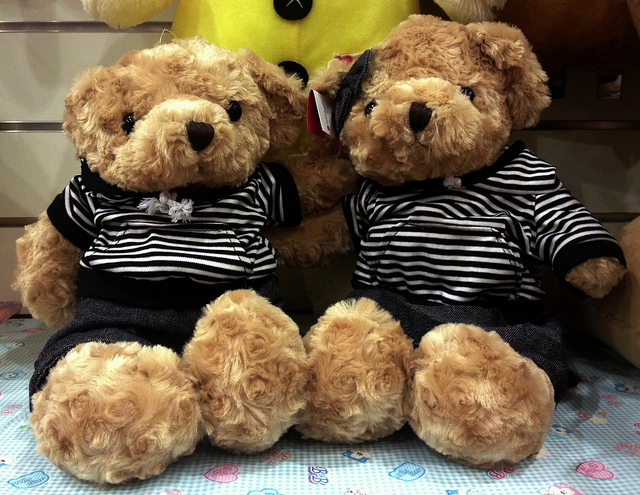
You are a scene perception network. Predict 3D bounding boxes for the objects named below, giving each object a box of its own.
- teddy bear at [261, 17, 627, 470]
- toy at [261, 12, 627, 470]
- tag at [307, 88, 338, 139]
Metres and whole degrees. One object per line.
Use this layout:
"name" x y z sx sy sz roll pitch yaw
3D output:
"teddy bear" 0.178 -0.057 1.334 0.721 0.841 0.528 2 10 43
"toy" 0.193 -0.058 1.339 0.742 0.854 0.533 2 13 36
"tag" 0.006 -0.281 1.325 0.027 0.069 0.099 -11 -1 22
